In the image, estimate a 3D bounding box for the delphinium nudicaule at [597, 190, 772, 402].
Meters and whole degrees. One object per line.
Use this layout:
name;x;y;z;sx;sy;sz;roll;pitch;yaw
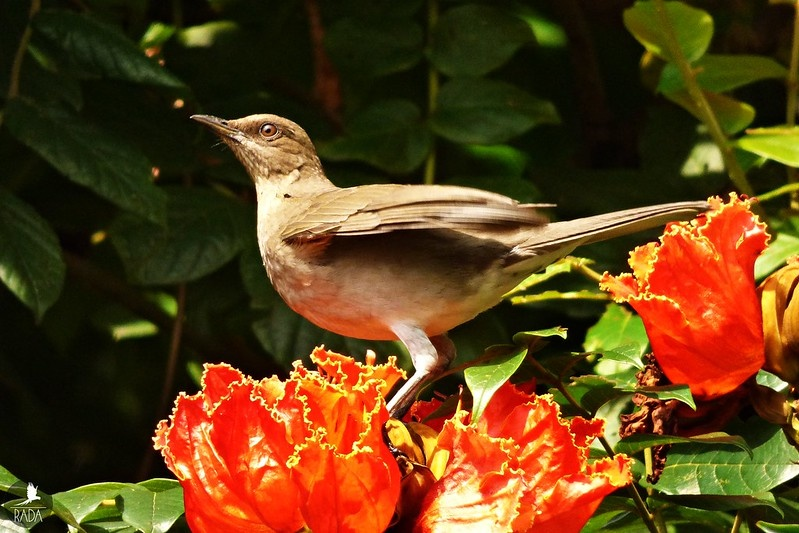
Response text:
delphinium nudicaule;0.655;0.078;2.079;0.375;0.417;0.198;-12;20;10
